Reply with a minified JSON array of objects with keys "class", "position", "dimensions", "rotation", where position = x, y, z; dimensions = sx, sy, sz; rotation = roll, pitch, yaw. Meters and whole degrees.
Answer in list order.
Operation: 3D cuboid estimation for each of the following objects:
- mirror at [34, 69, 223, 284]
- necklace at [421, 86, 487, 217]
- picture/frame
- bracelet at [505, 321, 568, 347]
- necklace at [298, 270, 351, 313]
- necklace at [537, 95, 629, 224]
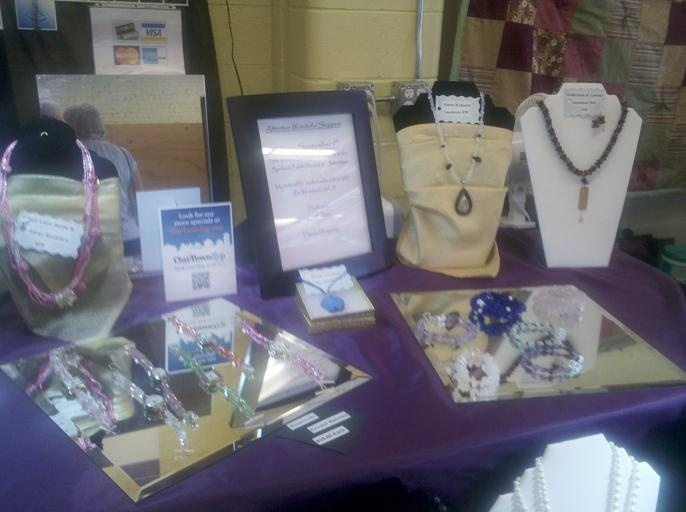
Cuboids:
[{"class":"mirror","position":[-0.529,-0.182,1.270],"dimensions":[0.442,0.642,0.044],"rotation":[-6,2,-25]},{"class":"necklace","position":[0.309,-0.284,1.438],"dimensions":[0.158,0.297,0.198],"rotation":[0,24,3]},{"class":"picture/frame","position":[-0.088,-0.146,1.342],"dimensions":[0.395,0.511,0.268],"rotation":[-11,29,-20]},{"class":"bracelet","position":[0.430,0.175,1.181],"dimensions":[0.063,0.027,0.078],"rotation":[-3,20,5]},{"class":"necklace","position":[-0.030,0.085,1.233],"dimensions":[0.086,0.025,0.092],"rotation":[-14,58,-21]},{"class":"necklace","position":[0.645,-0.272,1.436],"dimensions":[0.308,0.461,0.049],"rotation":[-1,2,-7]}]
